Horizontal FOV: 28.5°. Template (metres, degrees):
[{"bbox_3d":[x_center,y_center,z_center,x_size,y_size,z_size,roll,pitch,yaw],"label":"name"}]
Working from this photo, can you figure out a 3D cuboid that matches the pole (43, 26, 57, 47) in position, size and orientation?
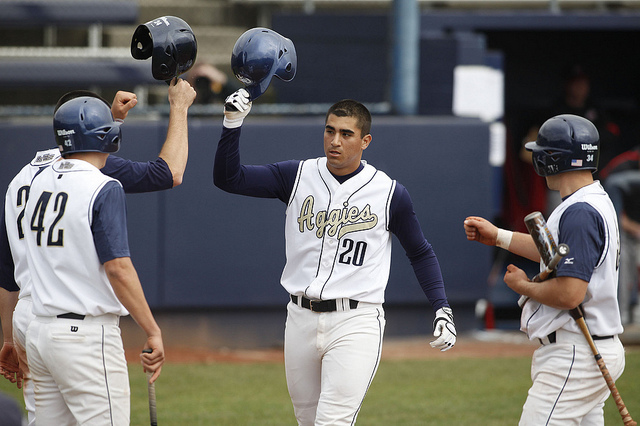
[{"bbox_3d":[-3.760,-2.456,17.598,0.188,0.267,0.130,0,10,-13],"label":"pole"}]

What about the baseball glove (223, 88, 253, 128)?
[{"bbox_3d":[-0.786,-0.997,11.956,0.247,0.360,0.269,12,14,43],"label":"baseball glove"}]

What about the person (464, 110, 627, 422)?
[{"bbox_3d":[2.306,0.513,11.645,1.055,2.742,0.890,8,11,28],"label":"person"}]

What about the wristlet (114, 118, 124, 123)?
[{"bbox_3d":[-1.883,-0.868,11.828,0.076,0.024,0.074,-4,11,-36],"label":"wristlet"}]

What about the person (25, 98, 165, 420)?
[{"bbox_3d":[-2.075,0.437,11.478,1.210,2.849,0.745,2,10,1],"label":"person"}]

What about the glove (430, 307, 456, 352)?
[{"bbox_3d":[1.124,1.096,11.941,0.273,0.365,0.167,-6,-3,-33],"label":"glove"}]
